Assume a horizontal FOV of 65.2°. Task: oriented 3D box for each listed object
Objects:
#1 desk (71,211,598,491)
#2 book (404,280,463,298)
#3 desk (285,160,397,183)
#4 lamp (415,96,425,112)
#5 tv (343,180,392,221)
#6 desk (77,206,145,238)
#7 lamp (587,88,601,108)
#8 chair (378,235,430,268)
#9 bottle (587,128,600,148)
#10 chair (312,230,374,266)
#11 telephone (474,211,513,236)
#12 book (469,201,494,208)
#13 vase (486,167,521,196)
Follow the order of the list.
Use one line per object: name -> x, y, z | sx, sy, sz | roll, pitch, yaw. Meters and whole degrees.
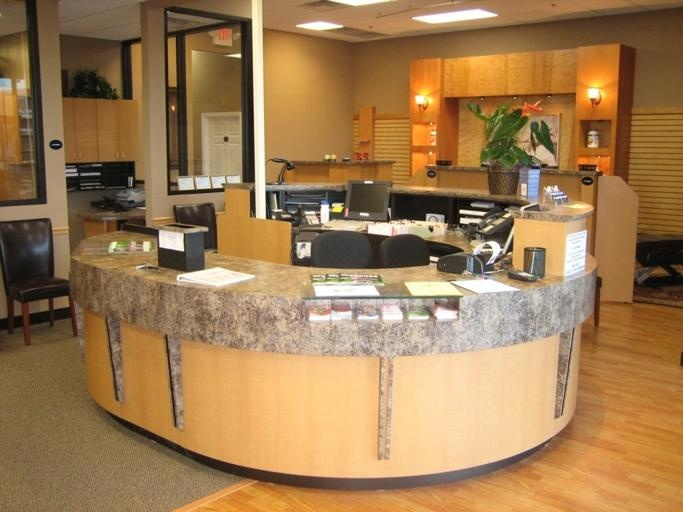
desk -> -0.017, 0.722, 3.164 | 2.515, 0.628, 1.708 | 1, 7, 9
book -> 0.525, 0.191, 3.056 | 0.306, 0.021, 0.262 | 0, 12, 0
desk -> 0.004, -1.551, 9.712 | 1.849, 0.366, 0.826 | 0, 13, -2
lamp -> 1.517, -2.909, 10.200 | 0.251, 0.296, 0.076 | 9, 18, 34
tv -> 0.271, -0.592, 5.770 | 0.513, 0.375, 0.184 | 4, 12, 20
desk -> -3.501, -0.527, 8.138 | 0.704, 0.553, 0.637 | 0, 11, 4
lamp -> 3.991, -2.502, 8.419 | 0.215, 0.297, 0.082 | 5, 15, 19
chair -> 0.515, -0.059, 4.554 | 0.333, 0.366, 0.329 | -2, 6, -12
bottle -> 4.081, -1.890, 8.640 | 0.198, 0.305, 0.271 | 6, 15, 23
chair -> 0.001, -0.072, 4.482 | 0.365, 0.401, 0.381 | 0, 3, -5
telephone -> 1.249, -0.247, 4.312 | 0.312, 0.080, 0.217 | -25, 14, -30
book -> 1.420, -0.502, 5.294 | 0.133, 0.065, 0.280 | -9, 15, -34
vase -> 1.602, -0.742, 5.301 | 0.348, 0.268, 0.266 | 6, 15, 23
